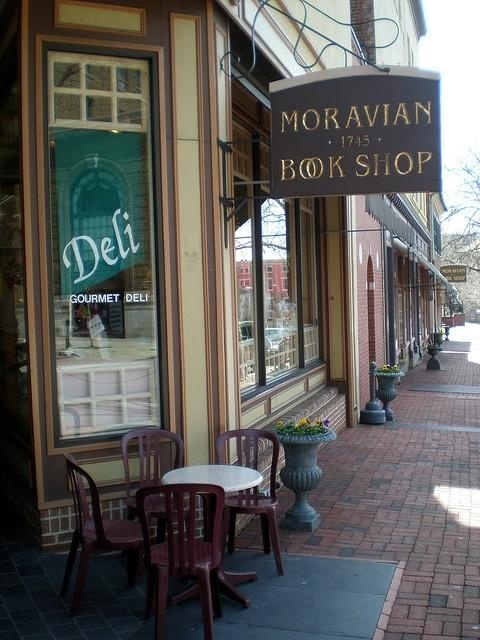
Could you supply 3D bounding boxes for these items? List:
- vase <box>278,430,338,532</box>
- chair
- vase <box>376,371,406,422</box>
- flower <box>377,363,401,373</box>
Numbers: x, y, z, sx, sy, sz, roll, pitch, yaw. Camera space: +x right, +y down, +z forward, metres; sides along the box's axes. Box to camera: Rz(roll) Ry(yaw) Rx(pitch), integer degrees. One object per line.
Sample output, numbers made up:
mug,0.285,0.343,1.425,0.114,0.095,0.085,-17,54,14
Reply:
vase,0.521,1.366,5.070,0.649,0.851,0.688,0,-10,4
chair,-0.518,1.195,3.822,1.056,0.770,1.124,-2,-2,31
vase,2.598,1.328,10.529,0.694,0.911,0.778,0,-4,8
flower,2.619,0.886,10.477,0.336,0.192,0.351,-2,0,35
